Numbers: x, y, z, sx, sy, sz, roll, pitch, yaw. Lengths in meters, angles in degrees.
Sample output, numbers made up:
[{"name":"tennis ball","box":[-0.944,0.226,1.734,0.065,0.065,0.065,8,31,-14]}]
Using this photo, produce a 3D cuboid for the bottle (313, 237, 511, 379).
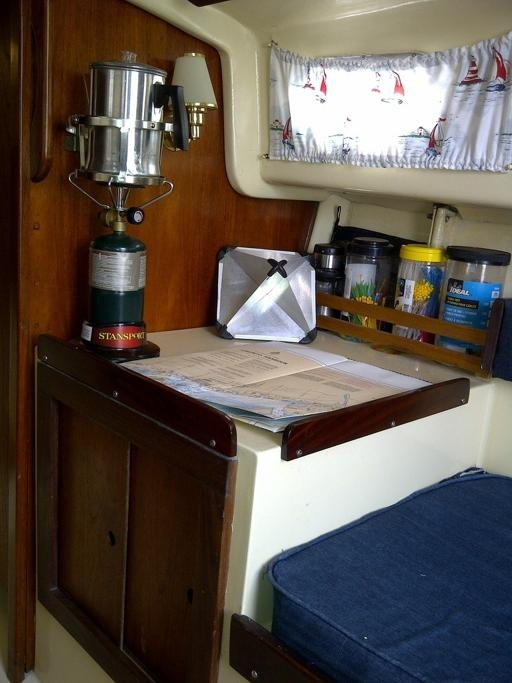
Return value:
[{"name":"bottle","box":[0.324,-0.103,1.100,0.282,0.114,0.289,6,20,-2]}]

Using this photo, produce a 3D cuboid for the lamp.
[{"name":"lamp","box":[-0.129,-0.482,1.086,0.099,0.160,0.092,-7,19,-18]}]
